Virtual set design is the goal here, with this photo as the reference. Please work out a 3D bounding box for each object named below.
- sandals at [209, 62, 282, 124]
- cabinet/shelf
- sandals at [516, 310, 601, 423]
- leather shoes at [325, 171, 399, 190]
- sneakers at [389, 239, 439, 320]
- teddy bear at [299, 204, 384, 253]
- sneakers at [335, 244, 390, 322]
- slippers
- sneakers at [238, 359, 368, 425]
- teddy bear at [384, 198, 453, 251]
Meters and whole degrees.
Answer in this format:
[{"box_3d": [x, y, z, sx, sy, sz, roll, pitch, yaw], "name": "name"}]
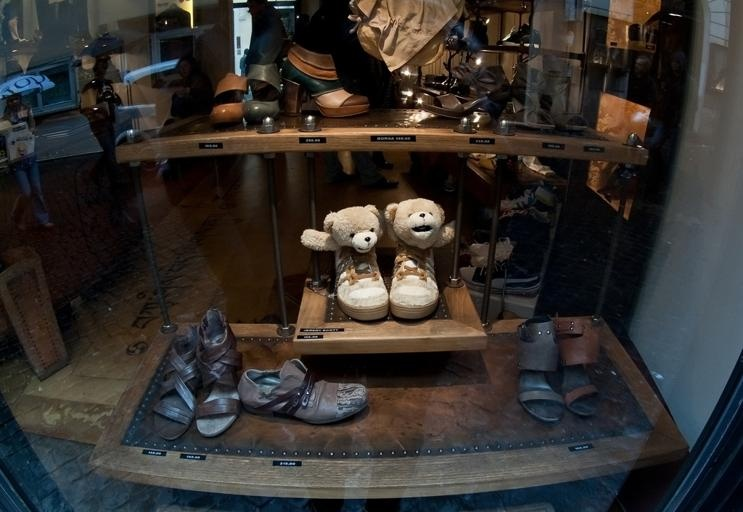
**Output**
[{"box_3d": [-0.391, -0.507, 1.651, 0.141, 0.093, 0.239, -4, 30, 15], "name": "sandals"}, {"box_3d": [0.059, -0.007, 1.834, 2.053, 0.975, 1.106, -1, 25, -1], "name": "cabinet/shelf"}, {"box_3d": [0.597, 0.359, 1.701, 0.201, 0.161, 0.357, -2, 30, 9], "name": "sandals"}, {"box_3d": [-0.026, -0.257, 1.776, 0.244, 0.090, 0.079, 0, 15, 4], "name": "leather shoes"}, {"box_3d": [0.145, 0.046, 1.835, 0.162, 0.189, 0.462, 2, 18, 3], "name": "sneakers"}, {"box_3d": [-0.092, -0.090, 1.684, 0.257, 0.165, 0.160, -14, 26, -25], "name": "teddy bear"}, {"box_3d": [-0.029, 0.104, 1.703, 0.114, 0.114, 0.295, -3, 16, -9], "name": "sneakers"}, {"box_3d": [0.436, -0.440, 1.623, 0.251, 0.067, 0.086, 11, 11, -4], "name": "slippers"}, {"box_3d": [-0.206, 0.441, 1.745, 0.495, 0.195, 0.170, 4, 32, 1], "name": "sneakers"}, {"box_3d": [0.156, -0.105, 1.741, 0.269, 0.157, 0.135, 4, 4, -9], "name": "teddy bear"}]
